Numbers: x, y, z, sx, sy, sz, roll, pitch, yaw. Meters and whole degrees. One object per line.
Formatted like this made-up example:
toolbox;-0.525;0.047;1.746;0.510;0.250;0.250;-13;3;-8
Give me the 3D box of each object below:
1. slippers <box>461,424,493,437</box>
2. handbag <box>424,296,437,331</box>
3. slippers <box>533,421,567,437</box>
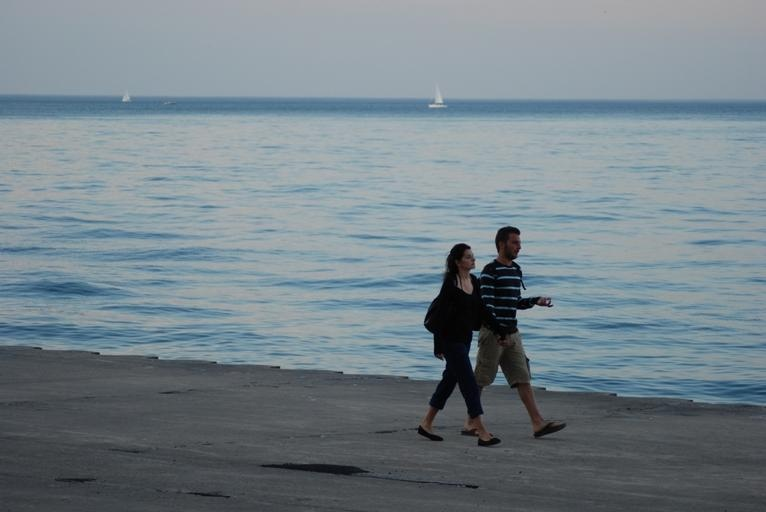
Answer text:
slippers;2.215;4.212;34.053;0.276;0.163;0.734;-1;1;-42
handbag;1.128;1.394;33.881;0.272;0.866;0.592;2;8;1
slippers;3.968;4.150;34.100;0.762;0.181;0.343;-14;8;15
